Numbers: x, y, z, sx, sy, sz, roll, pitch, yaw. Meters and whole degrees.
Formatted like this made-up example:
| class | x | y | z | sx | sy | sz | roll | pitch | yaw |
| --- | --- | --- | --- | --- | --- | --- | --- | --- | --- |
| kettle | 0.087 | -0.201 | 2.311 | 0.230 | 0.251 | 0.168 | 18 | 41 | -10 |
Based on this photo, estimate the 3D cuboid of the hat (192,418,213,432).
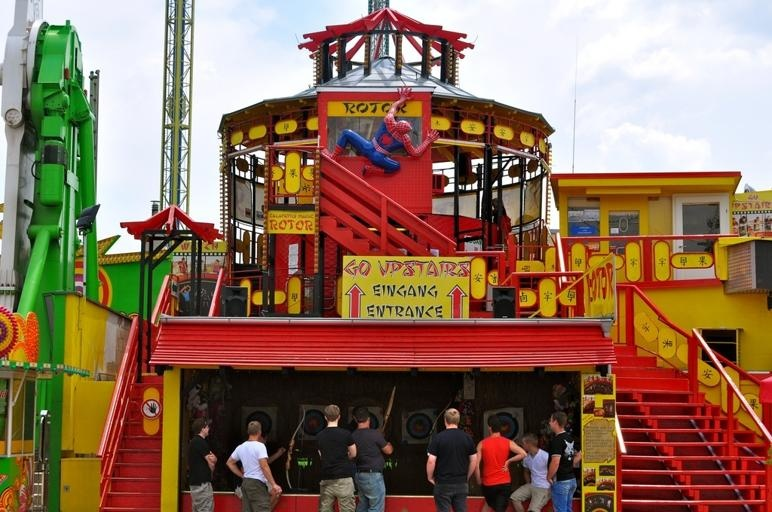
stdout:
| class | x | y | z | sx | sy | sz | roll | pitch | yaw |
| --- | --- | --- | --- | --- | --- | --- | --- | --- | --- |
| hat | -3.742 | 3.435 | 26.489 | 0.221 | 0.366 | 0.267 | 21 | 32 | 38 |

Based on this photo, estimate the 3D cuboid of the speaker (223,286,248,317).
| class | x | y | z | sx | sy | sz | roll | pitch | yaw |
| --- | --- | --- | --- | --- | --- | --- | --- | --- | --- |
| speaker | -3.208 | 0.956 | 27.635 | 0.520 | 0.705 | 0.558 | 2 | -9 | -8 |

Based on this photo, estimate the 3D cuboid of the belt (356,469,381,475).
| class | x | y | z | sx | sy | sz | roll | pitch | yaw |
| --- | --- | --- | --- | --- | --- | --- | --- | --- | --- |
| belt | -0.322 | 4.231 | 25.639 | 0.477 | 0.103 | 0.157 | 1 | -10 | -3 |

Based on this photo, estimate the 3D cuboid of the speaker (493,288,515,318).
| class | x | y | z | sx | sy | sz | roll | pitch | yaw |
| --- | --- | --- | --- | --- | --- | --- | --- | --- | --- |
| speaker | 2.518 | 1.009 | 27.530 | 0.547 | 0.803 | 0.567 | 0 | -11 | 2 |
